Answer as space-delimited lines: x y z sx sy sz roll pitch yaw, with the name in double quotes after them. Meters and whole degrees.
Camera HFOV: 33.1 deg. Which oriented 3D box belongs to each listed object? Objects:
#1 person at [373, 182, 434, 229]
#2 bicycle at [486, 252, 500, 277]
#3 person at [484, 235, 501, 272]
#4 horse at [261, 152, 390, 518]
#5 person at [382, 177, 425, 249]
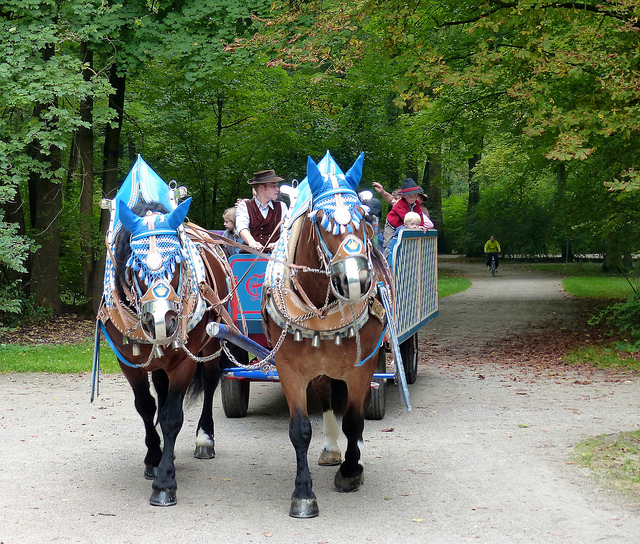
1.277 -1.076 16.723 1.197 0.710 0.547 9 0 13 "person"
5.980 -0.233 37.302 0.391 0.437 0.811 -1 -4 1 "bicycle"
6.136 -0.652 38.471 0.671 1.302 1.804 1 12 8 "person"
0.079 0.703 12.327 1.431 4.024 1.303 -1 14 3 "horse"
1.318 -0.642 16.797 0.631 1.534 0.517 6 -2 7 "person"
